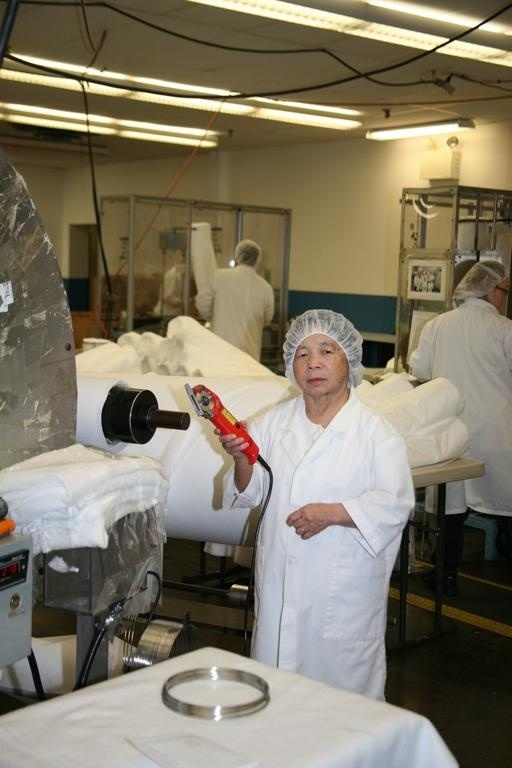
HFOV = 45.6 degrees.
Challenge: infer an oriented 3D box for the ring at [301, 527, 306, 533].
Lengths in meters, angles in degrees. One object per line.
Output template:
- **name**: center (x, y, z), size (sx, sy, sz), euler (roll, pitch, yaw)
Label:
- **ring**: center (0.112, 0.345, 1.441), size (0.015, 0.015, 0.004), euler (0, -2, 2)

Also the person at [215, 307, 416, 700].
- **person**: center (0.174, 0.321, 1.638), size (0.372, 1.016, 0.434), euler (-1, 10, -20)
